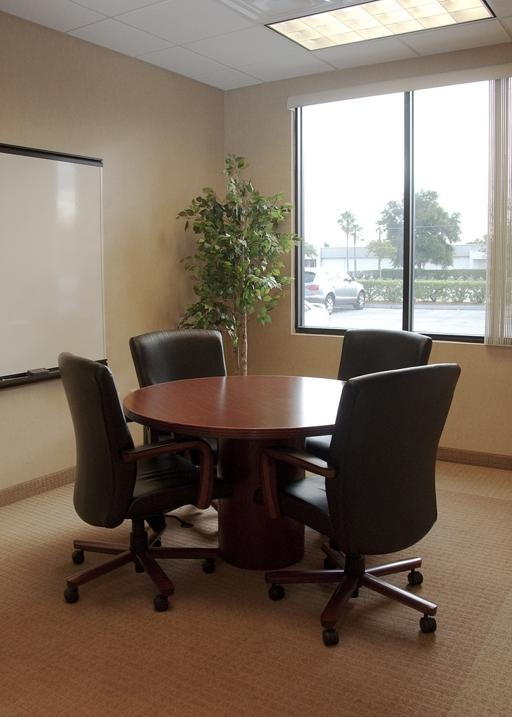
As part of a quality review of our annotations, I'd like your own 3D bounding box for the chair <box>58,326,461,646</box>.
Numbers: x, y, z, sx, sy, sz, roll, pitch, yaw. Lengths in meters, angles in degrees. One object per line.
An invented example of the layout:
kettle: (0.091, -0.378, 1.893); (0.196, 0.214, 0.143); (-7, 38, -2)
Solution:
chair: (0.081, 0.414, 2.304); (1.219, 0.814, 1.241); (1, 3, 10)
